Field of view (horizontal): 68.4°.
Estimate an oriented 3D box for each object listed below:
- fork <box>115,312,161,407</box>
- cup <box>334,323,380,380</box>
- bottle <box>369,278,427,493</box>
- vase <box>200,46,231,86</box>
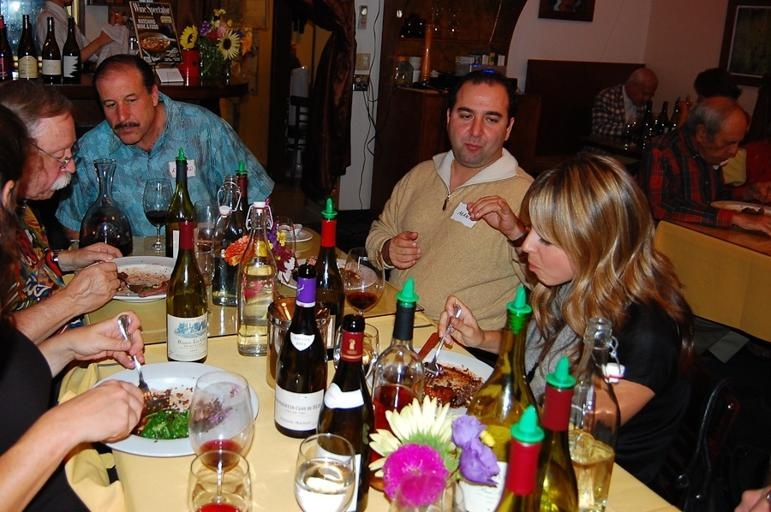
[{"bbox_3d":[-0.785,0.333,1.783,0.037,0.263,0.034,-16,-5,-19],"label":"fork"},{"bbox_3d":[-0.081,0.292,1.812,0.153,0.177,0.158,2,4,0],"label":"cup"},{"bbox_3d":[0.028,0.322,1.491,0.146,0.592,0.367,1,18,-1],"label":"bottle"},{"bbox_3d":[-1.589,-1.733,5.341,0.346,0.392,0.346,-5,16,-30],"label":"vase"}]
